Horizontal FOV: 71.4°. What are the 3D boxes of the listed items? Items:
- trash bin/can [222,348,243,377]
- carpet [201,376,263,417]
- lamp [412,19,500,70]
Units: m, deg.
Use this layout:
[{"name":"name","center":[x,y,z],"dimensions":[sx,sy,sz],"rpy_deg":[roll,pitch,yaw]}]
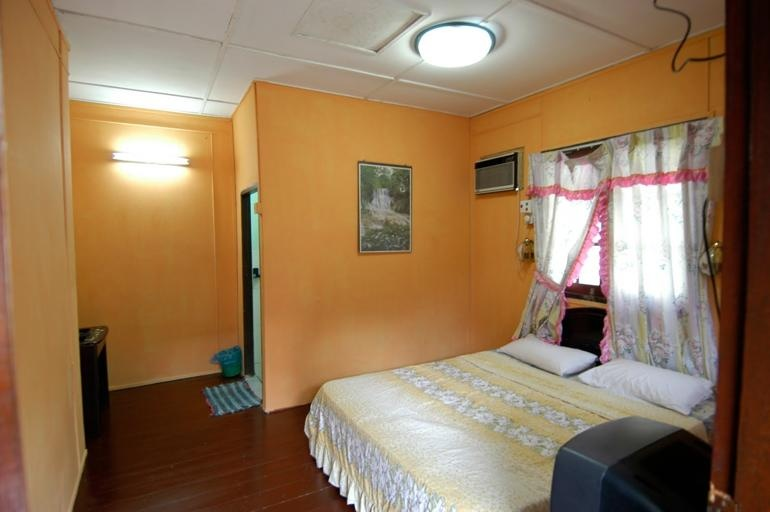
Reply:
[{"name":"trash bin/can","center":[-1.771,1.235,6.230],"dimensions":[0.213,0.282,0.283],"rpy_deg":[-5,-11,23]},{"name":"carpet","center":[-1.614,1.482,5.705],"dimensions":[0.583,0.064,0.830],"rpy_deg":[-6,14,-23]},{"name":"lamp","center":[0.573,-1.754,4.438],"dimensions":[0.681,0.302,0.378],"rpy_deg":[2,13,11]}]
